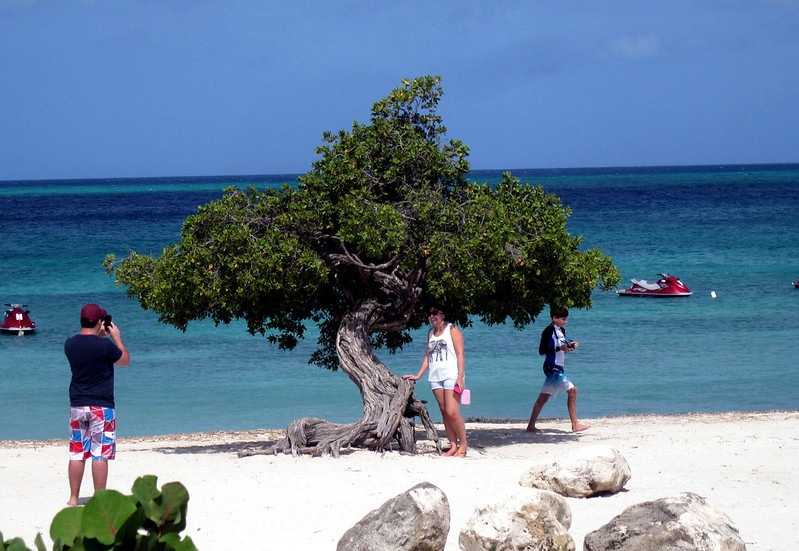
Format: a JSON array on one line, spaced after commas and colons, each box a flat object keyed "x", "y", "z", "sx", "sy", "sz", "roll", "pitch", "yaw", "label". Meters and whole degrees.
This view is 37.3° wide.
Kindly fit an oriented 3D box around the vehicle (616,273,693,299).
[{"x": 11.877, "y": 0.598, "z": 54.369, "sx": 3.035, "sy": 1.039, "sz": 1.349, "roll": -1, "pitch": 4, "yaw": 14, "label": "vehicle"}]

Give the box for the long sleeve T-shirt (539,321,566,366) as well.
[{"x": 3.592, "y": 1.609, "z": 27.071, "sx": 0.621, "sy": 0.983, "sz": 0.394, "roll": -3, "pitch": 0, "yaw": 0, "label": "long sleeve T-shirt"}]
